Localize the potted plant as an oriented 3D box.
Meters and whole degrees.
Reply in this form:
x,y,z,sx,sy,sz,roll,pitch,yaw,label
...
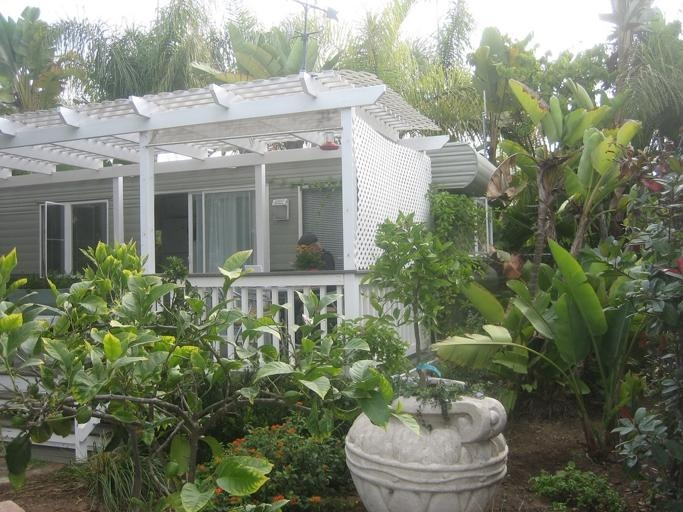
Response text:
x,y,z,sx,sy,sz,roll,pitch,yaw,label
0.792,0.458,6.656,1.074,1.816,3.118,0,-1,7,potted plant

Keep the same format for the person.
x,y,z,sx,sy,sz,roll,pitch,yaw,label
-0.435,0.334,10.754,0.614,1.272,0.658,12,-8,-29,person

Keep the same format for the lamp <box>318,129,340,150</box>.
x,y,z,sx,sy,sz,roll,pitch,yaw,label
-0.185,-1.922,10.802,0.345,0.449,0.373,-1,4,-4,lamp

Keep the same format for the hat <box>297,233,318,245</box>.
x,y,z,sx,sy,sz,roll,pitch,yaw,label
-0.563,-0.288,10.928,0.198,0.107,0.268,3,-11,-21,hat
